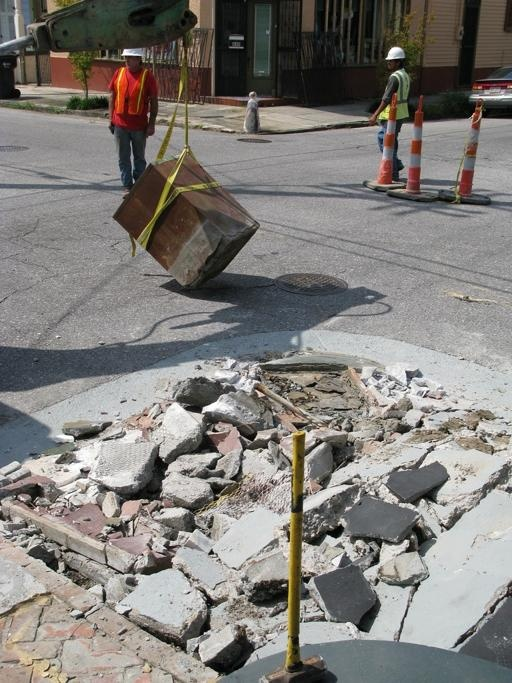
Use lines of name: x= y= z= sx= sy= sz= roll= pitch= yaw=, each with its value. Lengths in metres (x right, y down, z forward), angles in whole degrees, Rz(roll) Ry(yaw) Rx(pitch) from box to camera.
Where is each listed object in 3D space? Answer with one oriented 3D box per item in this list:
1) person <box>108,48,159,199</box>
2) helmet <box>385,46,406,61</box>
person: x=-1.692 y=-3.112 z=7.989 sx=0.570 sy=1.953 sz=0.793 roll=-7 pitch=18 yaw=-33
helmet: x=2.547 y=-5.262 z=10.488 sx=0.284 sy=0.246 sz=0.250 roll=3 pitch=15 yaw=1
